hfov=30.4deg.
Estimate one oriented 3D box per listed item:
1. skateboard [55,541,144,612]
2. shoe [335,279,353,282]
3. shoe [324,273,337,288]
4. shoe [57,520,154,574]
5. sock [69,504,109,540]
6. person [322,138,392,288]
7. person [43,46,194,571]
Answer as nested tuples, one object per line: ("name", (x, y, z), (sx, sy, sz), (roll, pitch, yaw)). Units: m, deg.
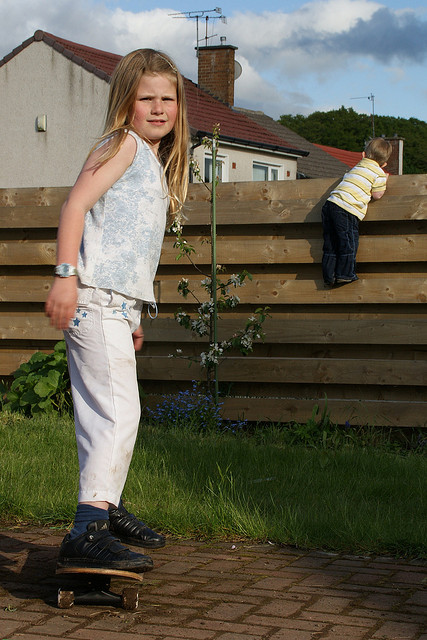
("skateboard", (-0.350, 0.852, 2.471), (0.295, 0.122, 0.389), (1, -24, -3))
("shoe", (0.897, -0.269, 5.396), (0.102, 0.024, 0.099), (2, 5, -15))
("shoe", (0.813, -0.279, 5.423), (0.089, 0.096, 0.042), (-1, 6, 4))
("shoe", (-0.334, 0.686, 2.407), (0.322, 0.151, 0.106), (-6, -9, 20))
("sock", (-0.365, 0.635, 2.476), (0.124, 0.139, 0.104), (-1, -26, 4))
("person", (0.992, -0.749, 5.443), (0.398, 1.065, 0.496), (8, 7, 37))
("person", (-0.308, -0.075, 2.561), (0.392, 1.648, 0.578), (4, 6, -3))
